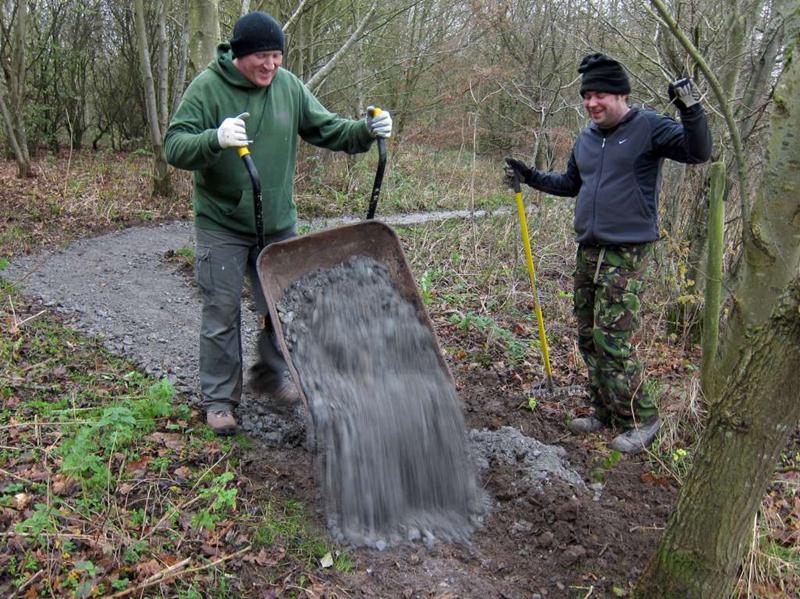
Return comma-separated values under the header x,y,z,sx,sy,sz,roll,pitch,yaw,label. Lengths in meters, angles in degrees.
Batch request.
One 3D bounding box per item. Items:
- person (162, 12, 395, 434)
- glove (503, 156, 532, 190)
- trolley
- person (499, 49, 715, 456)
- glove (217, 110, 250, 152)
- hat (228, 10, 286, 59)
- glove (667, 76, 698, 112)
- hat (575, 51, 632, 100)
x,y,z,sx,sy,sz,roll,pitch,yaw,label
-1.050,-0.555,5.072,1.272,2.932,0.769,-3,16,-20,person
0.990,-1.062,5.834,0.232,0.271,0.232,-11,3,-11,glove
-0.531,-0.344,5.108,1.132,2.424,1.056,-15,5,-18,trolley
1.677,-0.355,5.256,0.493,2.860,1.026,-7,18,-34,person
-1.138,-1.128,4.624,0.200,0.249,0.313,-1,17,-14,glove
-1.018,-1.854,4.841,0.384,0.341,0.425,-11,19,-19,hat
1.938,-1.400,4.689,0.196,0.222,0.261,6,16,12,glove
1.514,-1.719,5.162,0.358,0.310,0.296,-9,9,-28,hat
